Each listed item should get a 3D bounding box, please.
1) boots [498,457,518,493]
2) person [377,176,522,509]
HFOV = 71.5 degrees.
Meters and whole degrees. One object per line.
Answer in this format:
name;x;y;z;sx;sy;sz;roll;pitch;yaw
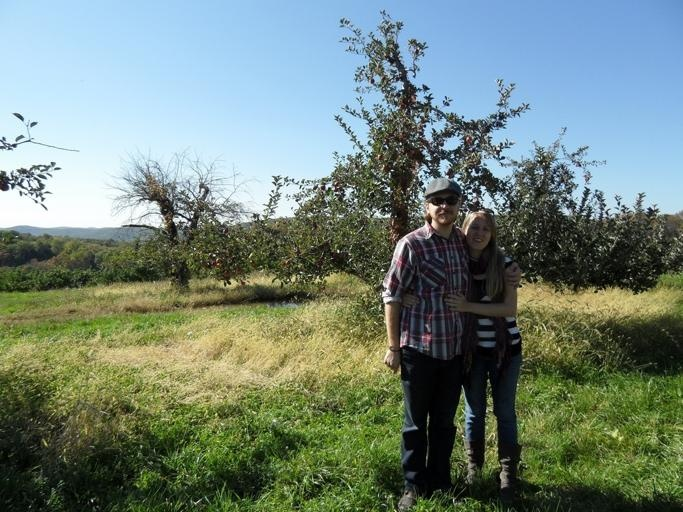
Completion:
boots;1.695;2.243;4.973;0.131;0.250;0.180;4;6;-2
person;0.904;0.861;4.926;0.938;3.264;0.794;-5;13;-20
